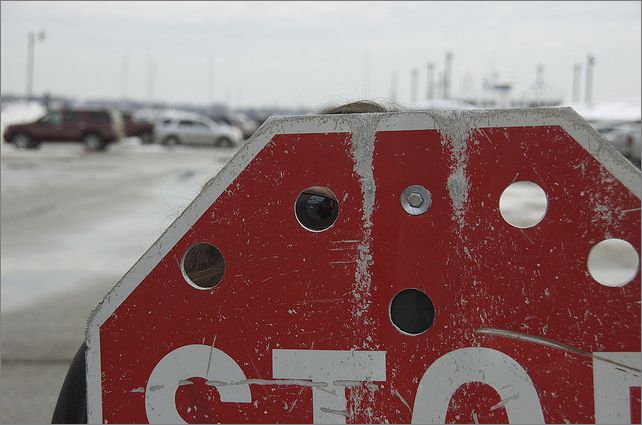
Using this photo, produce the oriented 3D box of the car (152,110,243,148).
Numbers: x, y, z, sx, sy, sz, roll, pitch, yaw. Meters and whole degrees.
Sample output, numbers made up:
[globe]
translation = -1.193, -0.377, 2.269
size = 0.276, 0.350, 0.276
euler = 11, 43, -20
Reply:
[car]
translation = -3.132, -2.128, 34.011
size = 2.742, 1.078, 1.305
euler = -3, 11, -11
